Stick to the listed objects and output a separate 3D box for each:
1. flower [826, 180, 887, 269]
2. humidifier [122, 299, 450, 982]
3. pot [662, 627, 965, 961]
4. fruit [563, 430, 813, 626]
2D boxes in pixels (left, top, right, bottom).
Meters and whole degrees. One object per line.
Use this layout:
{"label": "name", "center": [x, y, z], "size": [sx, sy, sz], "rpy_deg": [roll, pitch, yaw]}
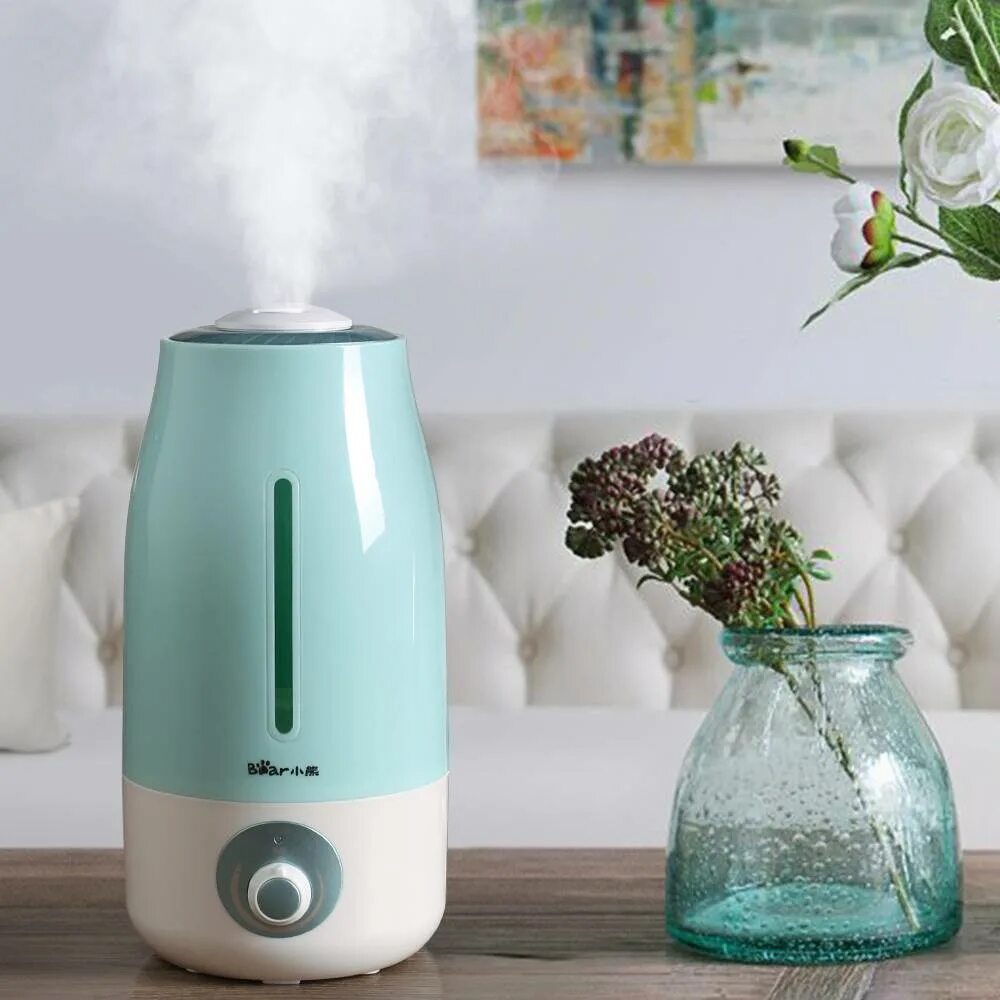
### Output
{"label": "flower", "center": [0.177, -0.132, 0.704], "size": [0.028, 0.043, 0.037], "rpy_deg": [1, 28, 15]}
{"label": "humidifier", "center": [-0.108, 0.074, 0.700], "size": [0.152, 0.284, 0.171], "rpy_deg": [-3, 27, 6]}
{"label": "pot", "center": [0.165, 0.149, 0.767], "size": [0.150, 0.167, 0.154], "rpy_deg": [1, -2, 0]}
{"label": "fruit", "center": [0.098, 0.022, 0.795], "size": [0.080, 0.089, 0.131], "rpy_deg": [-39, 2, -2]}
